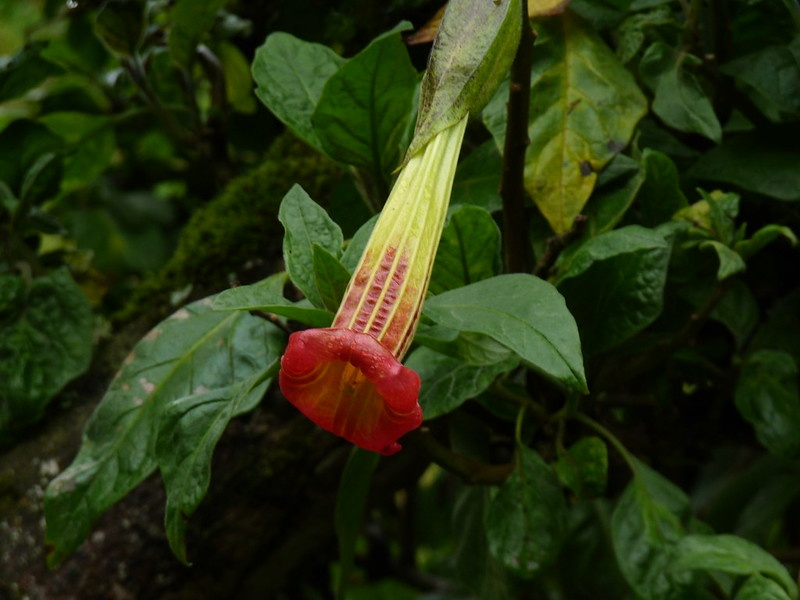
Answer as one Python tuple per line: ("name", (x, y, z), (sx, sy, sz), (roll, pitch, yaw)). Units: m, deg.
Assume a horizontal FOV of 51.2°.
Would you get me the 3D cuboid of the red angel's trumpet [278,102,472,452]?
("red angel's trumpet", (-0.022, -0.030, 0.955), (0.155, 0.185, 0.453), (10, 44, 9))
